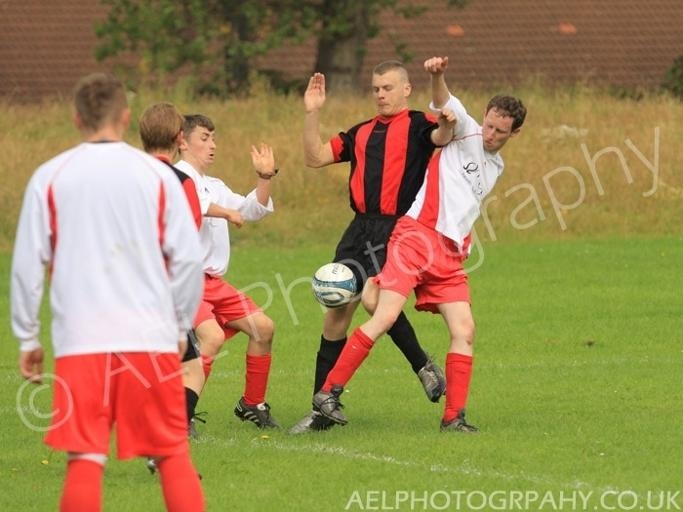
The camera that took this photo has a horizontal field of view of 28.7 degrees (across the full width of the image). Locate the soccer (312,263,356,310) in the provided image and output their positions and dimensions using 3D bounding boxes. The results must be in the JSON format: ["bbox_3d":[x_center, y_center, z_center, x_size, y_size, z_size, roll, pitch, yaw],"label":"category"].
[{"bbox_3d":[-0.049,0.196,8.723,0.263,0.285,0.262,-1,-4,-32],"label":"soccer"}]

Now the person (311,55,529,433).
[{"bbox_3d":[0.554,0.034,8.675,1.170,2.103,0.701,2,12,7],"label":"person"}]

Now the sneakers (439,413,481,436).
[{"bbox_3d":[0.750,1.099,8.705,0.285,0.147,0.104,-5,-3,22],"label":"sneakers"}]

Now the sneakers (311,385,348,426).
[{"bbox_3d":[-0.075,0.984,8.687,0.220,0.314,0.208,0,13,-3],"label":"sneakers"}]

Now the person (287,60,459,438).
[{"bbox_3d":[0.310,-0.068,8.787,1.121,2.526,1.145,-2,-10,23],"label":"person"}]

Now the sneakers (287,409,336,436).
[{"bbox_3d":[-0.190,1.092,8.694,0.358,0.170,0.127,0,-4,-4],"label":"sneakers"}]

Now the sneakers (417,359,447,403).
[{"bbox_3d":[0.608,0.835,8.984,0.148,0.276,0.098,-27,-3,-3],"label":"sneakers"}]

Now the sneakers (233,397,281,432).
[{"bbox_3d":[-0.573,1.048,8.966,0.366,0.177,0.136,29,1,6],"label":"sneakers"}]
